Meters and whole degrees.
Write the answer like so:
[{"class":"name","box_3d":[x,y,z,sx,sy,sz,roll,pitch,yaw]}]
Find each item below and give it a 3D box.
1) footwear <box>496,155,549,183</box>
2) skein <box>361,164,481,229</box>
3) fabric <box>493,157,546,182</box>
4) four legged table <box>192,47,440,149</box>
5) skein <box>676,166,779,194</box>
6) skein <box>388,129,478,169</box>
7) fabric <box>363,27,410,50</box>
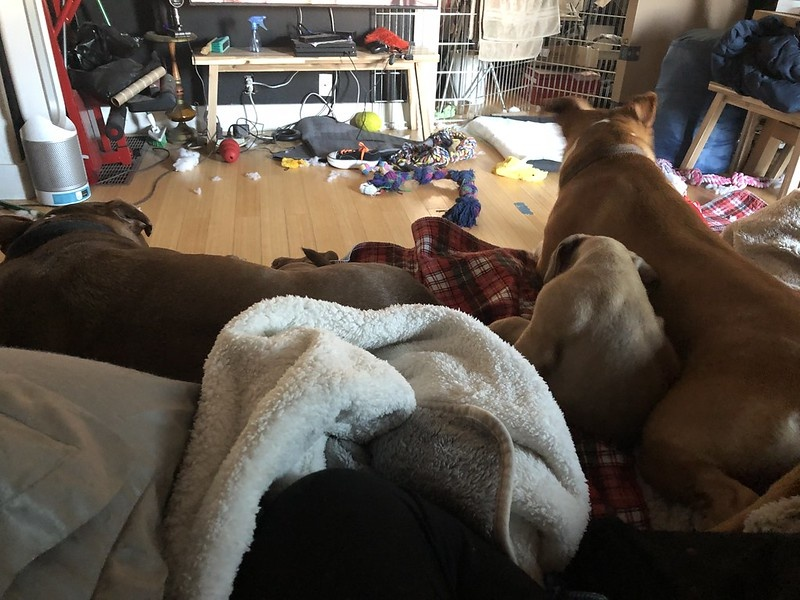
[{"class":"footwear","box_3d":[0.794,-0.858,3.570,0.269,0.100,0.202,5,30,9]},{"class":"skein","box_3d":[0.130,-0.702,3.259,0.580,0.186,0.539,-9,45,-20]},{"class":"fabric","box_3d":[0.790,-0.856,3.574,0.290,0.092,0.173,22,17,11]},{"class":"four legged table","box_3d":[-0.596,-1.570,4.122,1.744,0.617,0.509,-8,34,-15]},{"class":"skein","box_3d":[2.018,-0.721,3.304,0.440,0.079,0.223,9,8,6]},{"class":"skein","box_3d":[0.286,-1.124,3.938,0.280,0.097,0.439,23,-7,-33]},{"class":"fabric","box_3d":[-0.097,-1.958,4.060,0.235,0.090,0.302,28,16,39]}]
